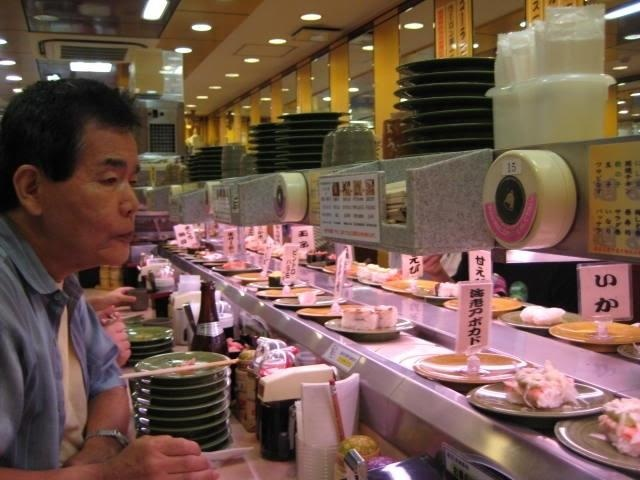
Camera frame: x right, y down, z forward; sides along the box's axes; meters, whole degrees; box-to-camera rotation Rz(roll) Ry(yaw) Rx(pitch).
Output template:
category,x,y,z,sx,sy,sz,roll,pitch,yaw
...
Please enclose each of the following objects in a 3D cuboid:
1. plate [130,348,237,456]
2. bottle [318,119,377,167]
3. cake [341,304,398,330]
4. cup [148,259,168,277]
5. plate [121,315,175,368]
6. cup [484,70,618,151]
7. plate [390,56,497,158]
category,x,y,z,sx,sy,sz,roll,pitch,yaw
plate,-0.488,0.563,1.781,0.322,0.235,0.323,-9,0,-4
bottle,0.116,-0.395,2.103,0.208,0.203,0.208,-2,4,-17
cake,0.199,0.305,1.916,0.188,0.077,0.161,2,6,42
cup,-1.363,0.231,4.090,0.179,0.168,0.138,-5,8,-26
plate,-0.867,0.510,2.507,0.212,0.091,0.215,-1,13,-4
cup,0.550,-0.268,1.155,0.195,0.139,0.234,-6,7,-35
plate,0.373,-0.362,1.452,0.283,0.198,0.284,1,3,38
